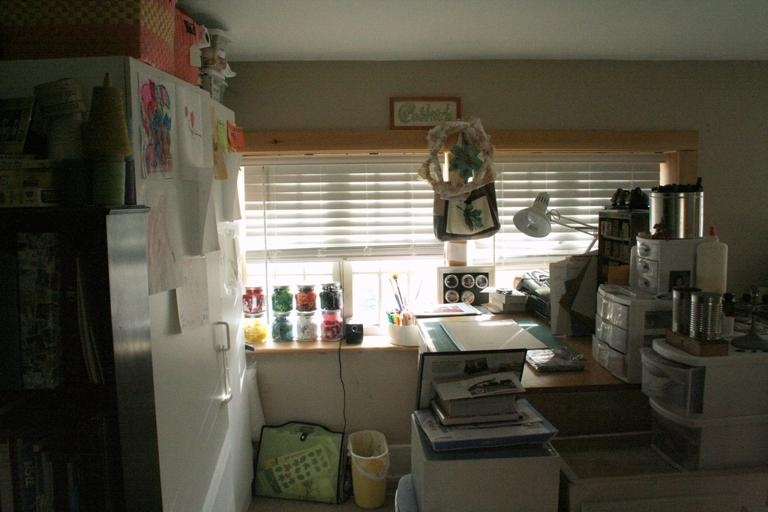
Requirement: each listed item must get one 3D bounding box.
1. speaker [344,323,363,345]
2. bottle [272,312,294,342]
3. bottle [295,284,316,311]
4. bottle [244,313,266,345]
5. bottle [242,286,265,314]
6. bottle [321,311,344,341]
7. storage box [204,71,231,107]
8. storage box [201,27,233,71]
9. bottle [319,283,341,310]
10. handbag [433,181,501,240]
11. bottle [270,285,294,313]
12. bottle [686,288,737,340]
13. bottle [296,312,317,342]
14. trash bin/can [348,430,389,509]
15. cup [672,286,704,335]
[{"bbox_3d":[-0.183,0.502,3.867,0.124,0.121,0.128,1,5,4],"label":"speaker"},{"bbox_3d":[-0.651,0.468,3.897,0.141,0.182,0.180,1,-3,-4],"label":"bottle"},{"bbox_3d":[-0.491,0.276,3.949,0.152,0.166,0.151,0,4,7],"label":"bottle"},{"bbox_3d":[-0.828,0.489,3.964,0.176,0.181,0.172,0,0,-35],"label":"bottle"},{"bbox_3d":[-0.835,0.296,3.869,0.171,0.174,0.132,0,0,33],"label":"bottle"},{"bbox_3d":[-0.341,0.459,3.900,0.189,0.184,0.133,-1,0,16],"label":"bottle"},{"bbox_3d":[-0.933,-0.962,3.397,0.090,0.243,0.237,7,7,9],"label":"storage box"},{"bbox_3d":[-0.902,-1.137,3.308,0.204,0.170,0.248,0,5,8],"label":"storage box"},{"bbox_3d":[-0.340,0.268,3.888,0.164,0.179,0.163,0,-3,1],"label":"bottle"},{"bbox_3d":[0.455,-0.256,3.325,0.329,0.322,0.119,-3,3,1],"label":"handbag"},{"bbox_3d":[-0.653,0.275,3.890,0.173,0.195,0.143,-4,8,-34],"label":"bottle"},{"bbox_3d":[1.437,0.246,2.685,0.231,0.243,0.251,-1,1,6],"label":"bottle"},{"bbox_3d":[-0.494,0.463,3.896,0.177,0.192,0.160,0,1,19],"label":"bottle"},{"bbox_3d":[-0.089,1.314,3.683,0.255,0.398,0.310,-3,4,-3],"label":"trash bin/can"},{"bbox_3d":[1.353,0.251,2.657,0.152,0.174,0.150,2,-1,0],"label":"cup"}]
